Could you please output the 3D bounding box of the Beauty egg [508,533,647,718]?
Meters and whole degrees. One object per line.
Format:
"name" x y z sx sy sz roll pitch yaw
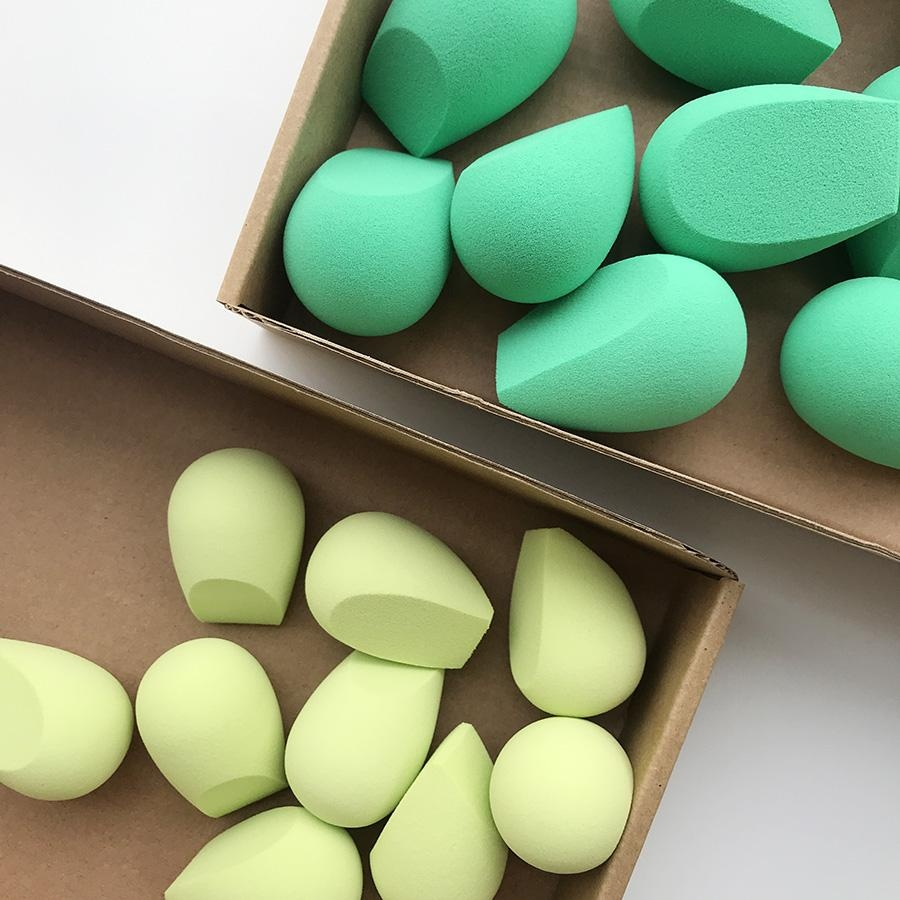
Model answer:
"Beauty egg" 0.102 0.138 0.729 0.122 0.066 0.135 -9 84 1

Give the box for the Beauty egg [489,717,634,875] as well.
"Beauty egg" 0.083 0.259 0.674 0.103 0.090 0.094 8 43 13

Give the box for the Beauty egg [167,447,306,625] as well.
"Beauty egg" -0.167 0.061 0.705 0.116 0.049 0.128 2 91 -4

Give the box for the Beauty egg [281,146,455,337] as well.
"Beauty egg" -0.061 -0.144 0.646 0.123 0.075 0.128 4 82 2

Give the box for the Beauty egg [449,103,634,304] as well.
"Beauty egg" 0.071 -0.171 0.643 0.139 0.106 0.094 -9 42 -6

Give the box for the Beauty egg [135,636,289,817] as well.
"Beauty egg" -0.180 0.207 0.743 0.116 0.075 0.136 -31 94 -1

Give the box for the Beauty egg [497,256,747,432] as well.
"Beauty egg" 0.120 -0.072 0.628 0.172 0.080 0.112 -3 86 7
